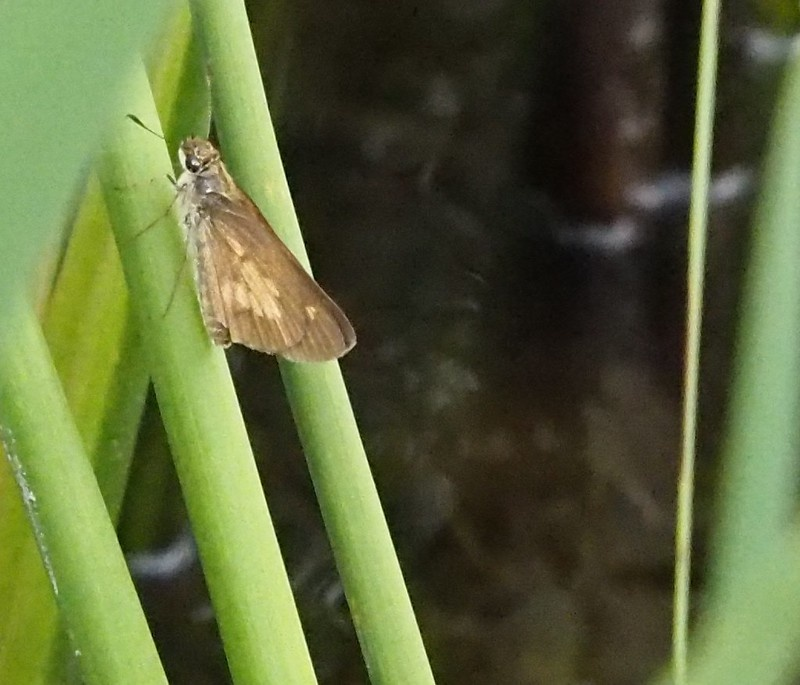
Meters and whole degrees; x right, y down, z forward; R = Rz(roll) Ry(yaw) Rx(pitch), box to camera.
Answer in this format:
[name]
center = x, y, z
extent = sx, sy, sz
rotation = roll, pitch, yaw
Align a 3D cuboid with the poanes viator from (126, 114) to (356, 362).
[poanes viator]
center = -0.085, -0.040, 0.511
extent = 0.051, 0.146, 0.064
rotation = -20, 5, 41
